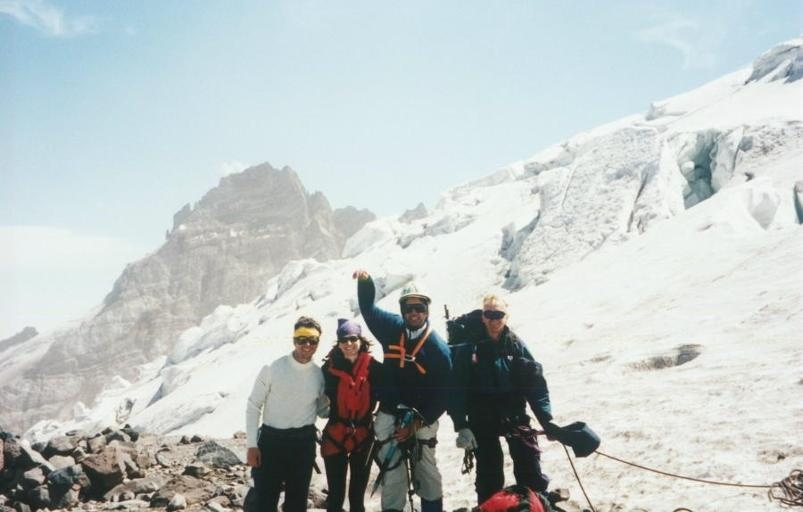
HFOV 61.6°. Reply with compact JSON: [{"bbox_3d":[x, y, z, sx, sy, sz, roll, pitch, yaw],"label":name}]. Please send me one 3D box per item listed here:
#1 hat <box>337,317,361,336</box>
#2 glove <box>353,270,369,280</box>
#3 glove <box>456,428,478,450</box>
[{"bbox_3d":[-1.983,2.663,25.233,0.575,0.506,0.815,7,-14,-27],"label":"hat"},{"bbox_3d":[-1.566,0.726,25.956,0.399,0.173,0.402,-4,-12,-4],"label":"glove"},{"bbox_3d":[2.462,6.855,25.235,0.635,0.345,0.834,-13,-44,6],"label":"glove"}]
